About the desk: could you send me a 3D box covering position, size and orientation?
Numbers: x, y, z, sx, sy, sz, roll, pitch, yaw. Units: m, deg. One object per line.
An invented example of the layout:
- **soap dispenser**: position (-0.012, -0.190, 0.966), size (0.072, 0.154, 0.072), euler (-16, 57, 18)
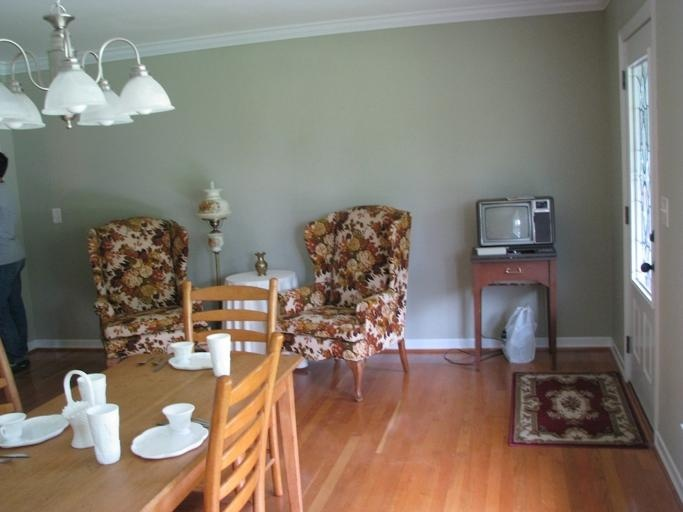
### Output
- **desk**: position (1.379, 0.304, 4.294), size (0.607, 0.772, 0.489), euler (-2, 14, 16)

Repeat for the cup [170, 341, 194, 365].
- **cup**: position (-0.766, 0.468, 2.599), size (0.090, 0.080, 0.098), euler (0, -3, 0)

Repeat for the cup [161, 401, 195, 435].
- **cup**: position (-0.587, 0.575, 1.943), size (0.100, 0.083, 0.102), euler (1, 1, 0)

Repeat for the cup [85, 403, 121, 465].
- **cup**: position (-0.806, 0.608, 1.859), size (0.098, 0.195, 0.124), euler (-11, 15, -28)
